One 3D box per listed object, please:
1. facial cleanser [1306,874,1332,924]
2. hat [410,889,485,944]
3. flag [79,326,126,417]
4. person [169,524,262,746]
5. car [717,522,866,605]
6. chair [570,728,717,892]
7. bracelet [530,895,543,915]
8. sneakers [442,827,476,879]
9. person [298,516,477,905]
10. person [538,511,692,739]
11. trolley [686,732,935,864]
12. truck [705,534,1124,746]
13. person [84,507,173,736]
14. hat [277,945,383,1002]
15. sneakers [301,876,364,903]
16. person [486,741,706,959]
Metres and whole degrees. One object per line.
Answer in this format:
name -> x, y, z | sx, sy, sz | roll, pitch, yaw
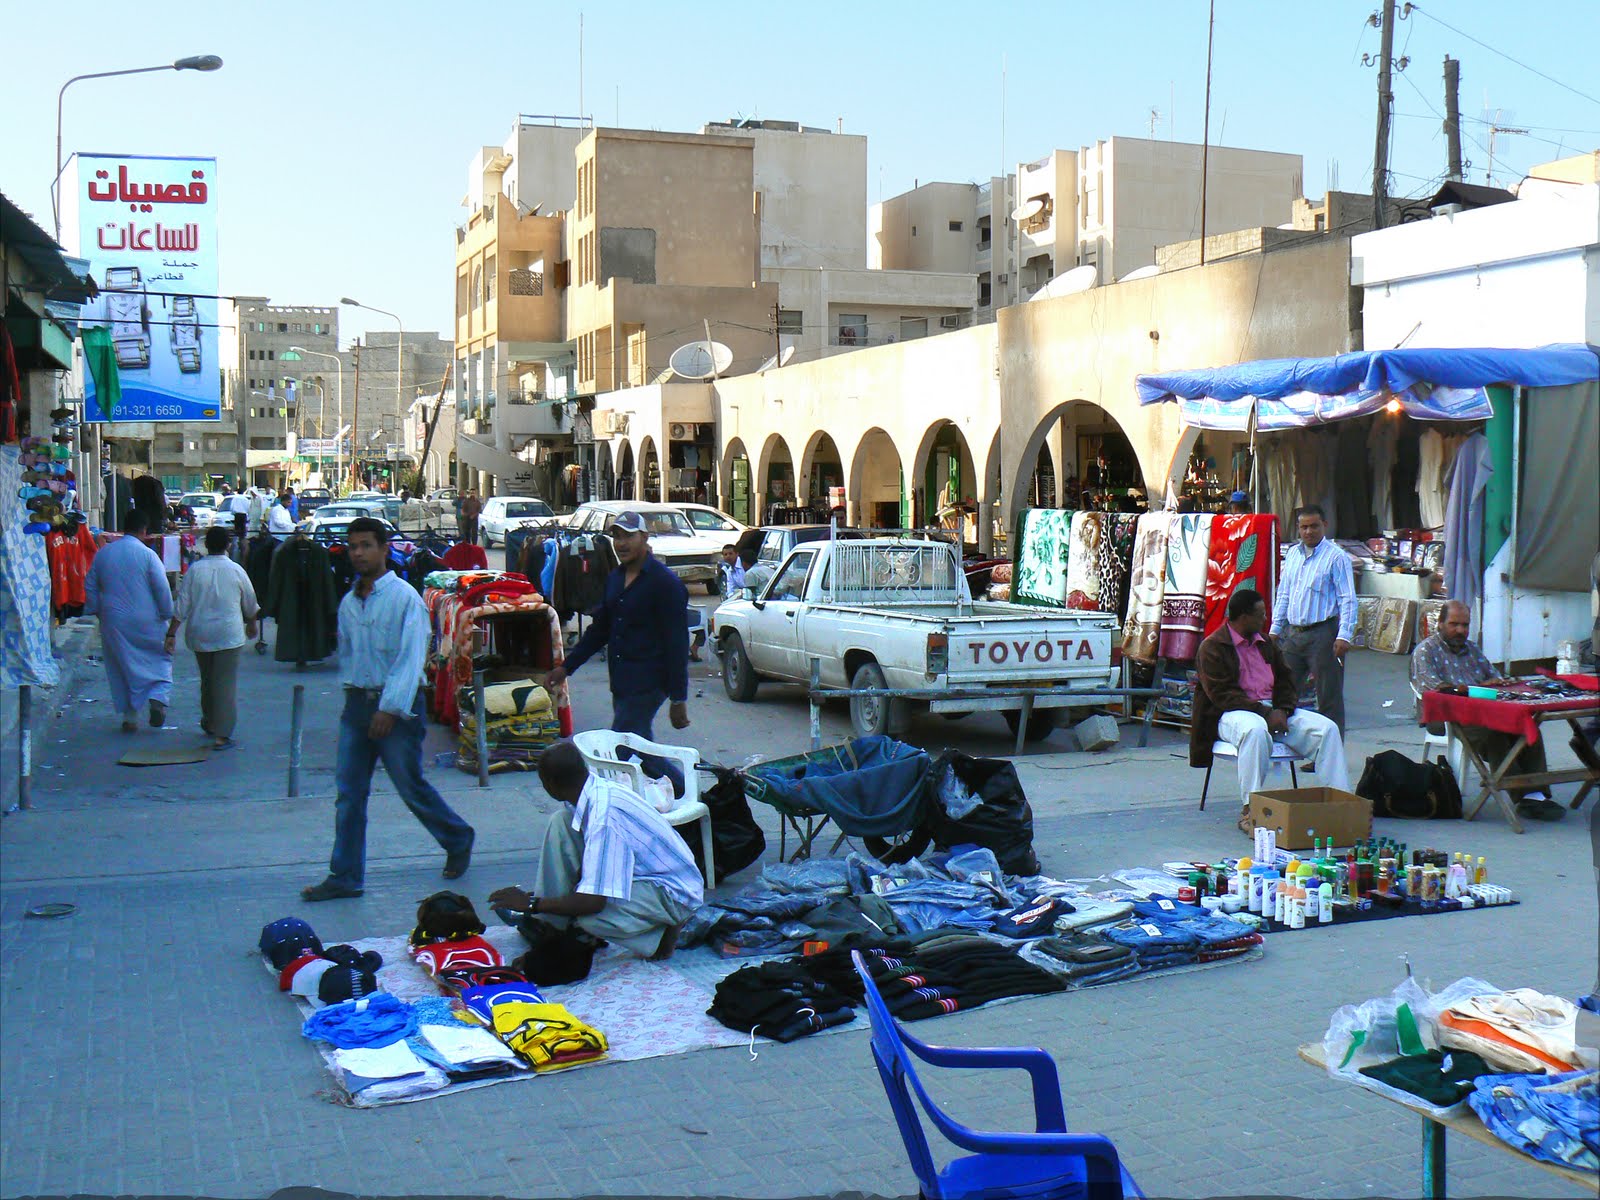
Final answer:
facial cleanser -> 3.133, 1.790, 9.453 | 0.225, 0.358, 0.119 | 2, -2, -33
hat -> -2.013, 1.759, 8.923 | 0.240, 0.189, 0.330 | 1, 3, -11
flag -> -12.410, -4.013, 27.780 | 0.557, 1.518, 3.833 | -3, 4, -23
person -> -5.717, 0.281, 15.320 | 0.713, 2.069, 1.396 | -3, 4, -20
car -> -0.481, -0.679, 26.656 | 1.132, 1.033, 2.410 | -1, 1, -18
chair -> -1.027, 1.254, 10.153 | 0.873, 1.298, 0.911 | 0, 4, 36
bracelet -> -1.454, 1.670, 8.657 | 0.065, 0.094, 0.094 | 1, -8, -7
sneakers -> -2.227, 1.624, 10.159 | 0.128, 0.184, 0.405 | -2, 14, -1
person -> -2.635, 0.640, 9.903 | 0.981, 2.350, 0.935 | -2, 3, -7
person -> -1.229, 0.203, 11.421 | 0.790, 1.658, 1.060 | -2, 4, -15
trolley -> 0.299, 1.436, 10.880 | 1.435, 0.772, 1.117 | -9, 7, -31
truck -> 1.043, 0.331, 16.179 | 1.814, 1.433, 3.692 | 0, 6, -26
person -> -6.577, 0.174, 15.390 | 0.773, 2.175, 1.241 | -3, 4, -26
hat -> -2.445, 1.952, 8.236 | 0.441, 0.180, 0.585 | -5, 5, -42
sneakers -> -2.897, 1.769, 9.749 | 0.390, 0.179, 0.147 | 2, -2, -9
person -> -1.202, 1.278, 9.245 | 1.228, 1.484, 0.961 | 3, 12, -3
